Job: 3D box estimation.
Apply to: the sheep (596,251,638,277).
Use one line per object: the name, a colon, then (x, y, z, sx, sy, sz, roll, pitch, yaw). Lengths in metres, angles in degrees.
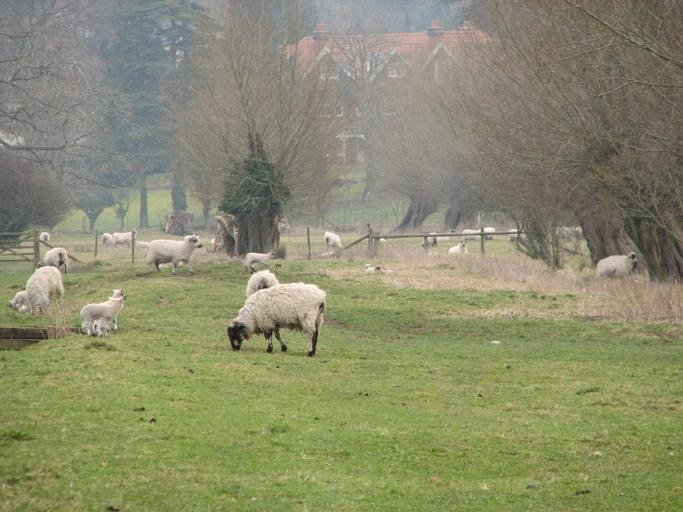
sheep: (14.381, 0.449, 64.328, 2.036, 1.221, 0.654, -1, -4, 41)

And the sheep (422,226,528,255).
sheep: (8.733, -1.162, 87.060, 6.790, 2.414, 3.200, -3, 6, -15)

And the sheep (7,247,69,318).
sheep: (-14.256, 1.163, 58.764, 1.682, 2.844, 5.423, -1, 17, 4)

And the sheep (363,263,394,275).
sheep: (2.141, 0.722, 69.369, 1.526, 0.820, 0.616, 2, 4, -14)

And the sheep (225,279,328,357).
sheep: (-2.733, 2.802, 52.762, 4.139, 3.005, 1.876, -2, -1, 3)

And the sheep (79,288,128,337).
sheep: (-10.043, 2.520, 52.876, 1.528, 2.224, 1.364, 2, 9, 13)

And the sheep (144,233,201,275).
sheep: (-8.912, -0.105, 66.214, 2.753, 1.987, 2.547, 2, -3, -9)
